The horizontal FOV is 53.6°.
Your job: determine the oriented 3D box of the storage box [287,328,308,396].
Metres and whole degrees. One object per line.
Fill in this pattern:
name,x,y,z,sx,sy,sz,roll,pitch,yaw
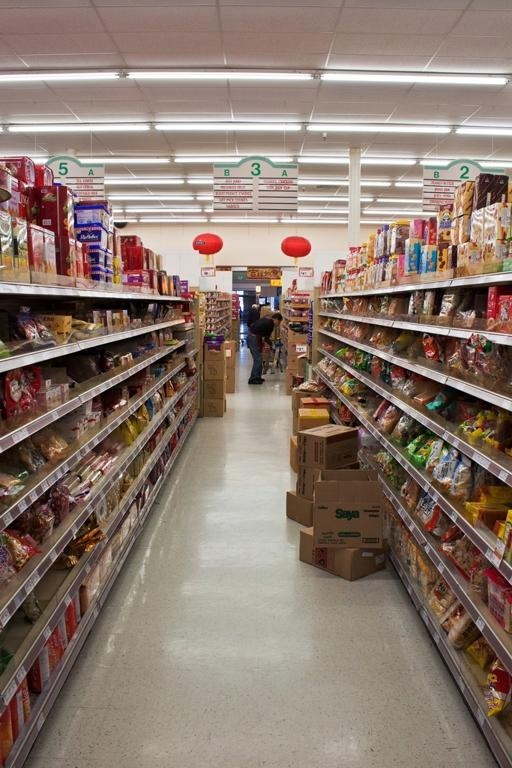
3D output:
storage box,0.777,-0.448,9.351,0.379,1.314,1.246,0,2,2

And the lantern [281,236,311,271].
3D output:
lantern,0.844,-2.918,10.704,0.551,0.424,0.362,1,1,-4
